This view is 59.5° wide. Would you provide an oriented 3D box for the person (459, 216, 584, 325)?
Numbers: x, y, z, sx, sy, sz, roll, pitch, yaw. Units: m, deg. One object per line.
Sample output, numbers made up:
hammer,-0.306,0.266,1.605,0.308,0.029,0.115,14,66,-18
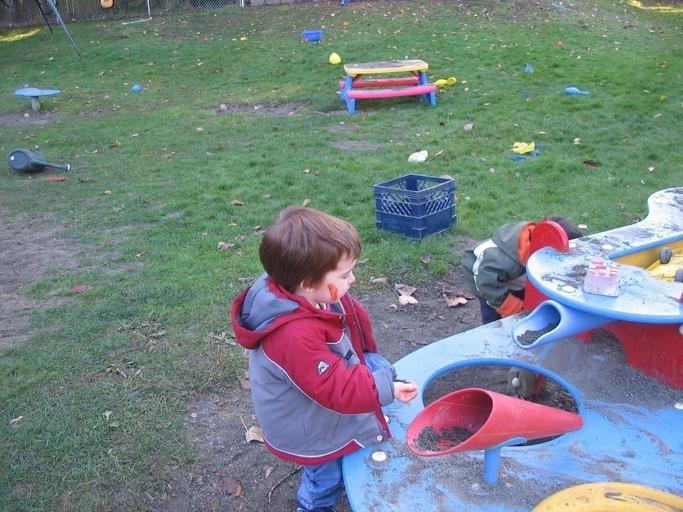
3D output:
person,1.329,0.091,4.224,0.931,0.580,1.258,4,-13,12
